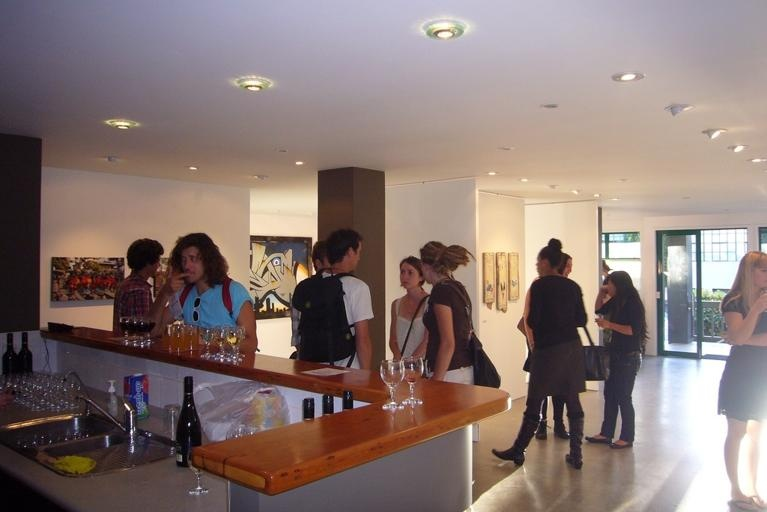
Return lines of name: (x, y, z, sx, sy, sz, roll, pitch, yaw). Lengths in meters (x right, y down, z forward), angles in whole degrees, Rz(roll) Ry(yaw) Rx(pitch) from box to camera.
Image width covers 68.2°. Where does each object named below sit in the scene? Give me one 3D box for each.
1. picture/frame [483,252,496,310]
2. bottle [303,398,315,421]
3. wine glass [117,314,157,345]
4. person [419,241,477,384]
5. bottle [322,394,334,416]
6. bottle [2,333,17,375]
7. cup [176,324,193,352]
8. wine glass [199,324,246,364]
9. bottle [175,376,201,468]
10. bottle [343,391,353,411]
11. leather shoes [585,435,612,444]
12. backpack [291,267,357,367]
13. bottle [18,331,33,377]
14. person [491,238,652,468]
picture/frame: (1.404, 0.300, 7.592, 0.071, 0.685, 0.386, -1, -2, 28)
bottle: (-0.340, 0.691, 2.557, 0.045, 0.091, 0.053, 0, 2, -6)
wine glass: (-1.758, 0.532, 4.056, 0.220, 0.143, 0.227, 1, -2, -25)
person: (0.507, 0.456, 4.458, 0.431, 1.126, 0.538, 0, 2, 4)
bottle: (-0.260, 0.695, 2.644, 0.043, 0.077, 0.089, 0, 2, 0)
bottle: (-3.191, 0.830, 4.833, 0.105, 0.340, 0.398, -1, 2, -35)
cup: (-1.298, 0.537, 3.708, 0.091, 0.158, 0.086, 0, 2, 0)
wine glass: (-1.008, 0.559, 3.577, 0.205, 0.182, 0.274, 3, -4, -42)
bottle: (-1.022, 0.852, 2.972, 0.136, 0.461, 0.417, -1, 2, -20)
bottle: (-0.175, 0.696, 2.734, 0.037, 0.085, 0.084, -1, 2, -34)
leather shoes: (2.288, 1.917, 6.013, 0.254, 0.090, 0.089, 4, 0, 19)
backpack: (-0.405, 0.460, 4.004, 0.463, 0.559, 0.439, -1, -3, -16)
bottle: (-3.008, 0.802, 4.764, 0.104, 0.339, 0.340, -1, 2, -32)
person: (1.611, 0.945, 5.418, 0.946, 2.148, 0.482, 0, 2, -17)
